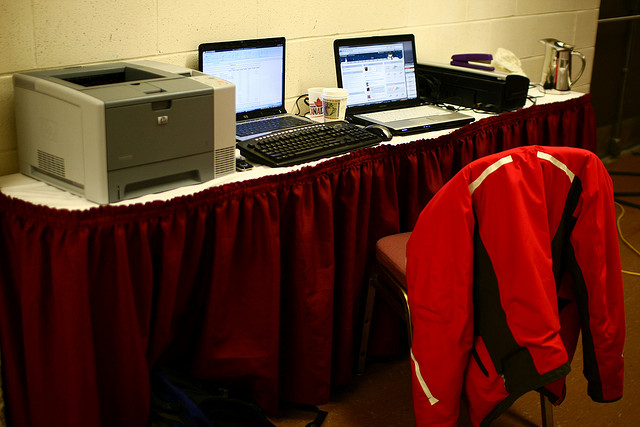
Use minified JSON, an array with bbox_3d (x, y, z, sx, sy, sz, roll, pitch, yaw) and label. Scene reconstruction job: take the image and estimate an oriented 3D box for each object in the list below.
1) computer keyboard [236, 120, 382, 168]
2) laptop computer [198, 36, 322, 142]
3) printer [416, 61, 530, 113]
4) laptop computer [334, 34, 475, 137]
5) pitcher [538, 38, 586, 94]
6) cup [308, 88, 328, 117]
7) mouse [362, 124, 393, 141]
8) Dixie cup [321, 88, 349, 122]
[{"bbox_3d":[-0.035,-0.274,2.065,0.569,0.100,0.217,-13,20,-28],"label":"computer keyboard"},{"bbox_3d":[-0.313,-0.405,2.428,0.753,0.548,0.434,-9,15,-44],"label":"laptop computer"},{"bbox_3d":[0.784,-0.705,2.788,0.335,0.199,0.673,-18,29,-29],"label":"printer"},{"bbox_3d":[0.394,-0.618,2.408,0.540,0.362,0.450,-17,27,-34],"label":"laptop computer"},{"bbox_3d":[1.369,-0.840,2.945,0.201,0.288,0.260,3,19,20],"label":"pitcher"},{"bbox_3d":[-0.005,-0.523,2.476,0.115,0.126,0.122,-3,8,0],"label":"cup"},{"bbox_3d":[0.249,-0.348,2.208,0.114,0.038,0.063,35,25,35],"label":"mouse"},{"bbox_3d":[0.067,-0.491,2.396,0.146,0.153,0.142,1,23,0],"label":"Dixie cup"}]
